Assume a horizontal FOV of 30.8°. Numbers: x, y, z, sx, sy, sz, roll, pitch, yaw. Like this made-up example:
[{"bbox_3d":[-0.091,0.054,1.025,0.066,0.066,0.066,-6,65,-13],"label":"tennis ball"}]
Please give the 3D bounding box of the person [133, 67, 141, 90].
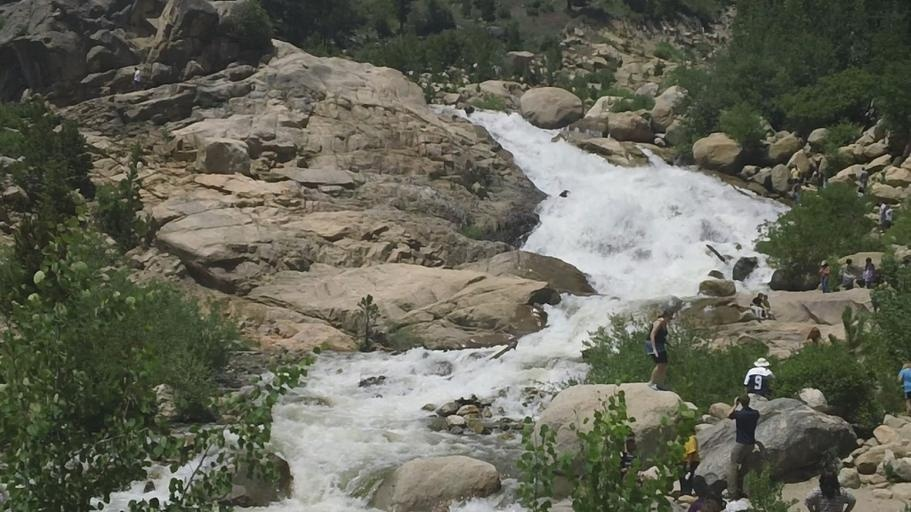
[{"bbox_3d":[-23.332,-13.002,121.568,0.563,1.162,1.129,-3,30,5],"label":"person"}]
